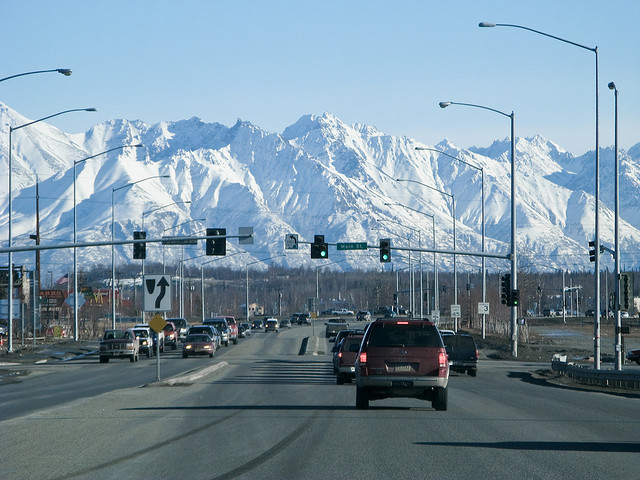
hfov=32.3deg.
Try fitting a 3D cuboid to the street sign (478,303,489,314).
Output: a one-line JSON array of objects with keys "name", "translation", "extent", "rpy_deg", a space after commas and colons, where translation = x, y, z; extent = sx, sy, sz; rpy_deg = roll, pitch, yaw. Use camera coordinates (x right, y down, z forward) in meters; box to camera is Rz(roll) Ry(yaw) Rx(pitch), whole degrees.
[{"name": "street sign", "translation": [10.395, 4.334, 70.591], "extent": [0.466, 0.691, 1.987], "rpy_deg": [-3, -7, 13]}]

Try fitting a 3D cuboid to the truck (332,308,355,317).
[{"name": "truck", "translation": [3.685, 11.901, 180.911], "extent": [2.196, 1.118, 1.527], "rpy_deg": [-3, -3, 1]}]

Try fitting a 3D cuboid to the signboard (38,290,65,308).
[{"name": "signboard", "translation": [-23.621, 5.028, 97.300], "extent": [2.861, 2.196, 3.017], "rpy_deg": [1, -4, -11]}]

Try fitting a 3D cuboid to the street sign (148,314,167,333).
[{"name": "street sign", "translation": [-6.684, 3.461, 45.872], "extent": [0.587, 0.782, 1.031], "rpy_deg": [1, -7, -21]}]

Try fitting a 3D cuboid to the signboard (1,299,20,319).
[{"name": "signboard", "translation": [-21.064, 4.796, 76.041], "extent": [1.429, 1.522, 0.370], "rpy_deg": [3, -3, 5]}]

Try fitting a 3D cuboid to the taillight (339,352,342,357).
[{"name": "taillight", "translation": [0.844, 4.721, 45.368], "extent": [0.082, 0.161, 0.332], "rpy_deg": [0, -8, -16]}]

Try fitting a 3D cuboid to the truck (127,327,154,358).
[{"name": "truck", "translation": [-10.561, 5.958, 66.266], "extent": [1.061, 1.117, 2.052], "rpy_deg": [0, -8, 0]}]

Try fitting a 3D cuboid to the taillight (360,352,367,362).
[{"name": "taillight", "translation": [1.411, 3.781, 35.669], "extent": [0.209, 0.304, 0.079], "rpy_deg": [-2, -6, 3]}]

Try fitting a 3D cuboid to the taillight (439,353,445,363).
[{"name": "taillight", "translation": [3.886, 3.791, 35.488], "extent": [0.261, 0.407, 0.040], "rpy_deg": [0, -5, -2]}]

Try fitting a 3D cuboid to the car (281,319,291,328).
[{"name": "car", "translation": [-3.840, 9.478, 125.188], "extent": [0.918, 0.932, 1.952], "rpy_deg": [-3, -7, 5]}]

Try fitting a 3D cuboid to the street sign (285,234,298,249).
[{"name": "street sign", "translation": [-1.838, 0.136, 72.312], "extent": [0.994, 1.237, 0.150], "rpy_deg": [1, 19, -3]}]

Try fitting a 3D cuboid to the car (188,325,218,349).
[{"name": "car", "translation": [-7.137, 5.979, 67.672], "extent": [1.260, 1.217, 2.322], "rpy_deg": [0, 6, -1]}]

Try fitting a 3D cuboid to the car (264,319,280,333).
[{"name": "car", "translation": [-4.950, 8.831, 113.445], "extent": [1.069, 1.123, 2.066], "rpy_deg": [0, 6, 0]}]

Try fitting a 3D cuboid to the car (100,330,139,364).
[{"name": "car", "translation": [-11.238, 5.973, 62.149], "extent": [2.008, 1.770, 1.217], "rpy_deg": [0, -6, -13]}]

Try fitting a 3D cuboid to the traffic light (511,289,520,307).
[{"name": "traffic light", "translation": [11.189, 3.325, 63.989], "extent": [0.419, 0.986, 1.136], "rpy_deg": [-2, -7, 4]}]

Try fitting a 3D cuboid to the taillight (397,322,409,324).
[{"name": "taillight", "translation": [2.671, 2.695, 35.784], "extent": [0.342, 0.058, 0.077], "rpy_deg": [-3, -7, 4]}]

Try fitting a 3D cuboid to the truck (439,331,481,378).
[{"name": "truck", "translation": [6.981, 5.539, 54.550], "extent": [2.166, 2.140, 4.157], "rpy_deg": [1, 1, 3]}]

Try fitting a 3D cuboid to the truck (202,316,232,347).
[{"name": "truck", "translation": [-7.355, 6.559, 82.147], "extent": [1.365, 1.274, 2.584], "rpy_deg": [0, -13, 0]}]

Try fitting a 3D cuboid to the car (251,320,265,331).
[{"name": "car", "translation": [-6.838, 9.429, 122.684], "extent": [1.028, 0.826, 1.816], "rpy_deg": [0, -8, -1]}]

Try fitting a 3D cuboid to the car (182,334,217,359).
[{"name": "car", "translation": [-7.174, 6.338, 66.154], "extent": [1.721, 1.475, 1.593], "rpy_deg": [-2, -7, 1]}]

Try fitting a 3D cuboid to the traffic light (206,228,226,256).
[{"name": "traffic light", "translation": [-5.484, 0.116, 59.407], "extent": [1.245, 1.427, 0.327], "rpy_deg": [-2, -4, 7]}]

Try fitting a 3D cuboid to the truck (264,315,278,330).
[{"name": "truck", "translation": [-4.985, 8.594, 113.664], "extent": [0.953, 1.079, 1.779], "rpy_deg": [-1, -12, 0]}]

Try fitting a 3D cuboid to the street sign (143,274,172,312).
[{"name": "street sign", "translation": [-6.666, 2.177, 45.542], "extent": [1.359, 1.879, 0.184], "rpy_deg": [2, -1, -10]}]

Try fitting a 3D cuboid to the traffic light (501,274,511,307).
[{"name": "traffic light", "translation": [10.861, 2.914, 64.677], "extent": [0.543, 1.872, 1.270], "rpy_deg": [-3, -6, 9]}]
